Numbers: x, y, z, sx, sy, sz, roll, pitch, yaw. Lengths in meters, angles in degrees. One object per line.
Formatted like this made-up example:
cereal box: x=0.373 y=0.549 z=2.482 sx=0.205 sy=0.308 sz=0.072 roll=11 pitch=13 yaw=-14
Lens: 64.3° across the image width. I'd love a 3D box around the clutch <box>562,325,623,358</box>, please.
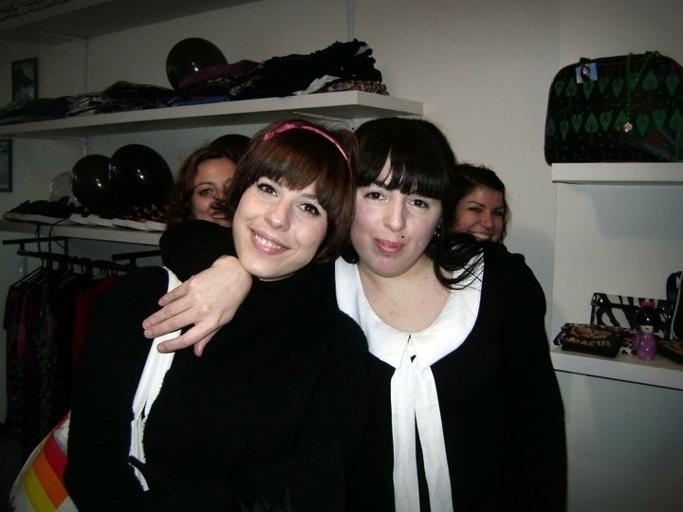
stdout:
clutch: x=0.930 y=0.311 z=2.021 sx=0.211 sy=0.069 sz=0.173 roll=5 pitch=9 yaw=26
